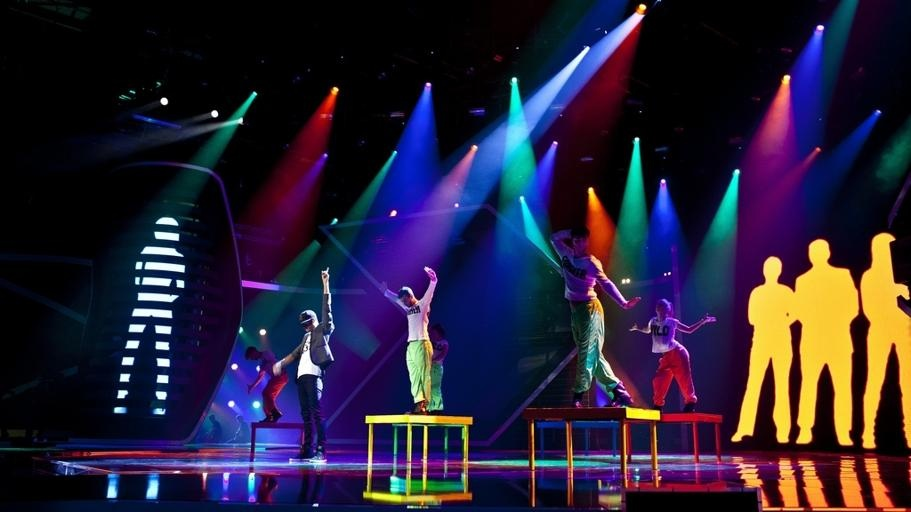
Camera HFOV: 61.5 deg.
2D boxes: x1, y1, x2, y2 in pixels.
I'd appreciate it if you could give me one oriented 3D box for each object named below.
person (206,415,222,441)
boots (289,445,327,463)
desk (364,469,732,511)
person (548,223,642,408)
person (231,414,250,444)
[{"bbox_3d":[-7.579,5.377,23.848,0.450,0.862,0.357,0,-22,5],"label":"person"},{"bbox_3d":[-3.145,4.211,16.200,0.629,0.184,0.446,0,-12,-3],"label":"boots"},{"bbox_3d":[0.664,3.996,13.037,4.324,0.668,1.780,0,-20,2],"label":"desk"},{"bbox_3d":[2.664,1.206,14.898,1.086,3.490,1.601,-12,-25,30],"label":"person"},{"bbox_3d":[-6.868,5.491,24.327,0.458,0.895,0.546,7,-22,-14],"label":"person"}]
